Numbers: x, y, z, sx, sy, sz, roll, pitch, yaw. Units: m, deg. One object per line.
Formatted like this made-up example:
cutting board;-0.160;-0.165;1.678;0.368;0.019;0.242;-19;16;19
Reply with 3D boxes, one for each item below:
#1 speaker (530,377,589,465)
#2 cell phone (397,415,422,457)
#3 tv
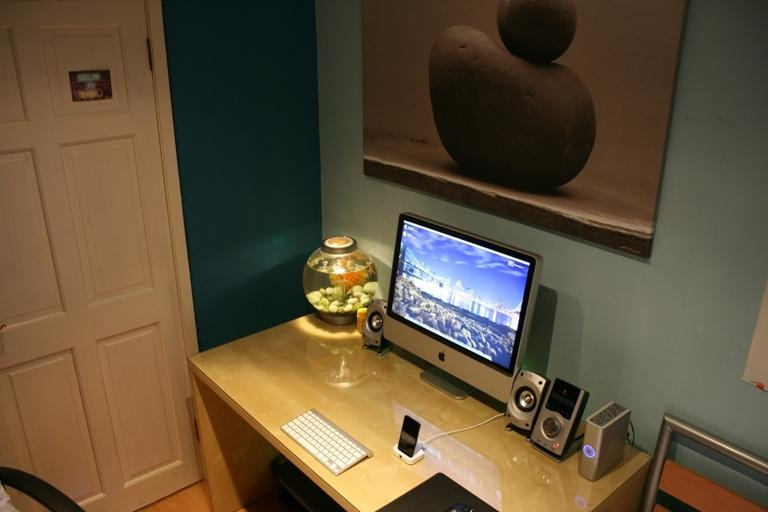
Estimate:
speaker;0.721;0.648;2.125;0.190;0.298;0.157;-19;28;-36
cell phone;0.098;0.722;2.099;0.073;0.146;0.067;19;30;41
tv;0.368;0.228;2.315;0.634;0.620;0.245;27;47;32
